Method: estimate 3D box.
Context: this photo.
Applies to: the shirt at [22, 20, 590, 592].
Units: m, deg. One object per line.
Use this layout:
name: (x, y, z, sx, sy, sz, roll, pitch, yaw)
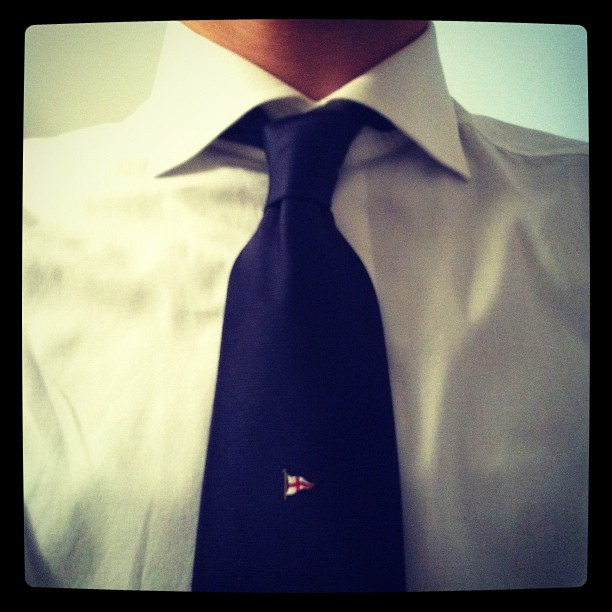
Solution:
shirt: (-0.029, 0.028, 1.107, 0.677, 0.083, 0.900, 0, 86, -5)
